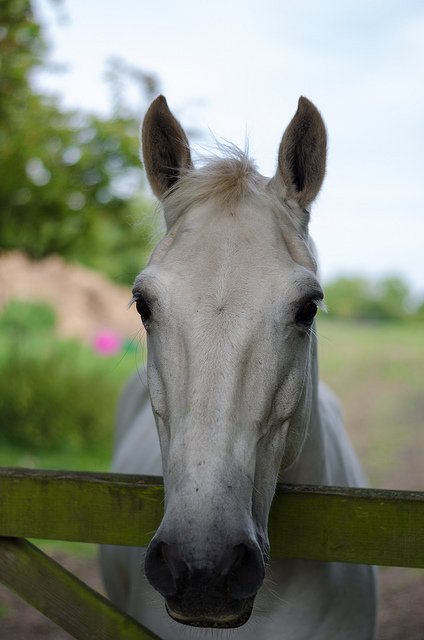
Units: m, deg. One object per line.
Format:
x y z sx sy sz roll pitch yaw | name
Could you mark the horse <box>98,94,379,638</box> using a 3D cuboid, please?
0.164 0.269 3.964 1.054 2.223 1.568 -2 12 -12 | horse
